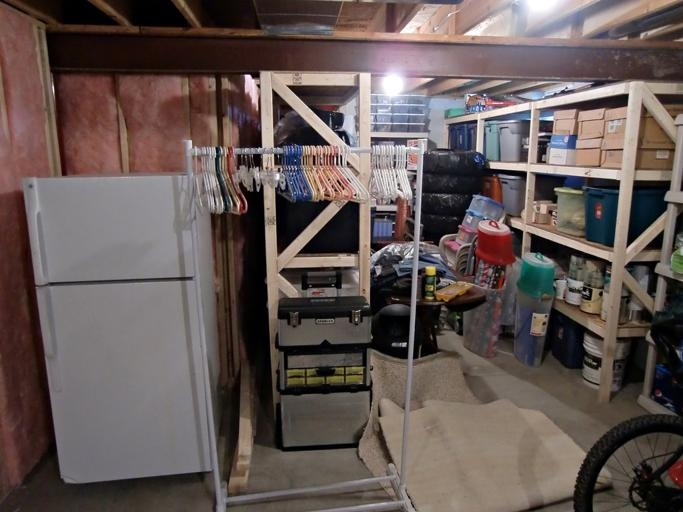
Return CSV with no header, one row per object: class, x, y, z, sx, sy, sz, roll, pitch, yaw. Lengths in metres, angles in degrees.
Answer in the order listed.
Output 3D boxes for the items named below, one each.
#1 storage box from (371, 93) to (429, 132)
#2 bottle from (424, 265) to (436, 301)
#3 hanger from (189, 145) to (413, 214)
storage box,0.772,-1.980,7.176,0.574,0.373,0.588,1,24,3
bottle,0.678,0.206,3.994,0.086,0.235,0.160,0,13,11
hanger,-0.212,-0.454,2.907,1.222,0.362,0.355,-4,13,-8
